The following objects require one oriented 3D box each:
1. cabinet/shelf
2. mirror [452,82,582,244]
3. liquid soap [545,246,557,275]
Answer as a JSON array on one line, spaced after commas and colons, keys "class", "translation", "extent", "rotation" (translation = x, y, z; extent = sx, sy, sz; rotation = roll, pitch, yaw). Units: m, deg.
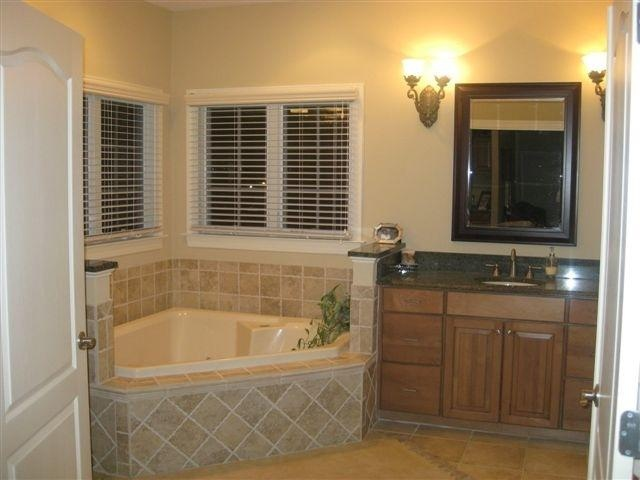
[{"class": "cabinet/shelf", "translation": [1.188, 0.861, 3.700], "extent": [1.057, 0.638, 0.344], "rotation": [0, -1, 15]}, {"class": "mirror", "translation": [1.548, -0.601, 4.150], "extent": [1.201, 1.559, 0.082], "rotation": [2, 7, 10]}, {"class": "liquid soap", "translation": [1.766, 0.184, 4.124], "extent": [0.077, 0.216, 0.111], "rotation": [2, 6, 23]}]
